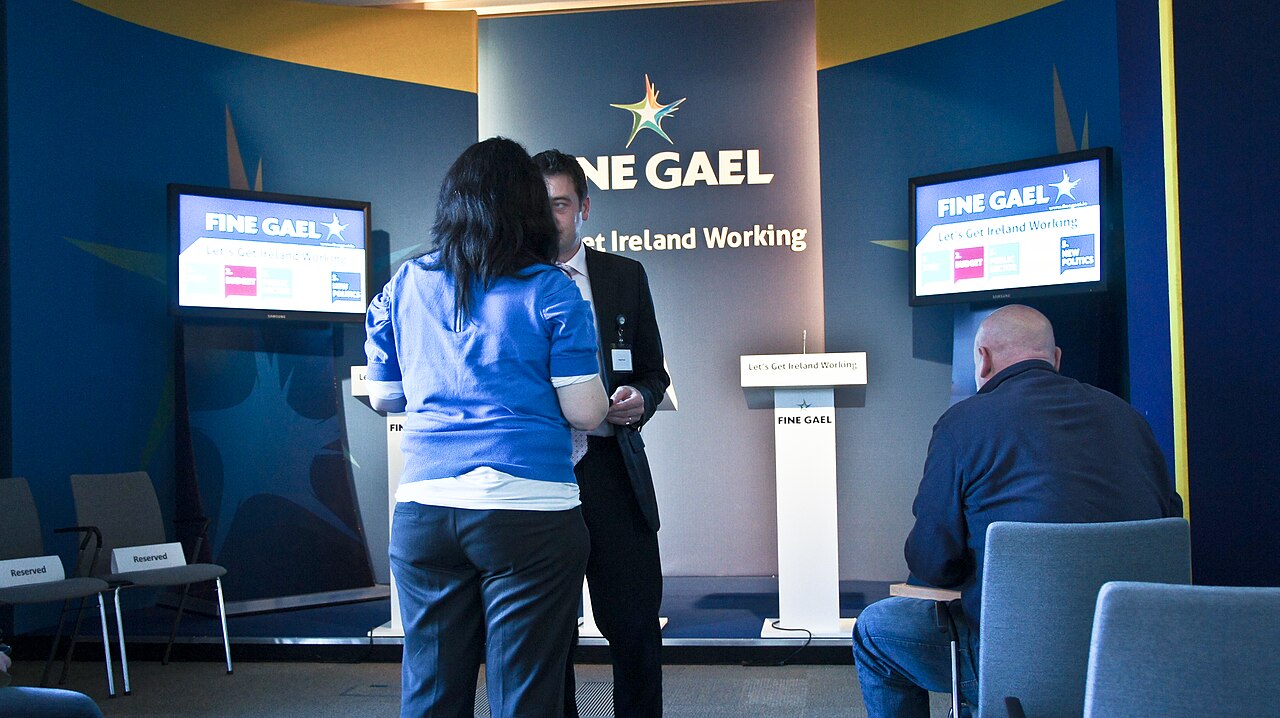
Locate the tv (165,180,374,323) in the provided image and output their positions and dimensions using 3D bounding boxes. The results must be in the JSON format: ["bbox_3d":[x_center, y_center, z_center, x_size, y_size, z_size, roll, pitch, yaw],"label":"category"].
[{"bbox_3d":[-2.735,-0.756,7.584,1.336,0.802,0.132,0,-3,-23],"label":"tv"}]

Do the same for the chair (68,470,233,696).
[{"bbox_3d":[-3.306,1.483,7.001,0.987,1.256,0.814,3,0,40],"label":"chair"}]
